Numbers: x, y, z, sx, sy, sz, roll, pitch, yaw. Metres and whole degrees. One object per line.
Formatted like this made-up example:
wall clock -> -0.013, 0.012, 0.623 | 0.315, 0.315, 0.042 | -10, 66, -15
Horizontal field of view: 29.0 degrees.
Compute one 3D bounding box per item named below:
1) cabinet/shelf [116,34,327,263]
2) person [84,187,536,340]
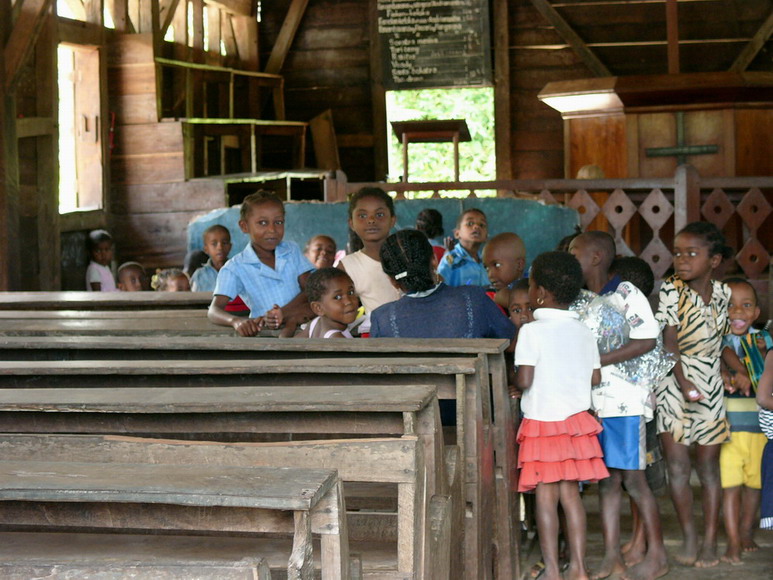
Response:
cabinet/shelf -> -1.467, -1.179, 12.630 | 1.206, 2.166, 2.273 | 0, 4, 6
person -> -0.074, -0.057, 7.834 | 1.273, 0.498, 0.849 | 6, 16, 37
